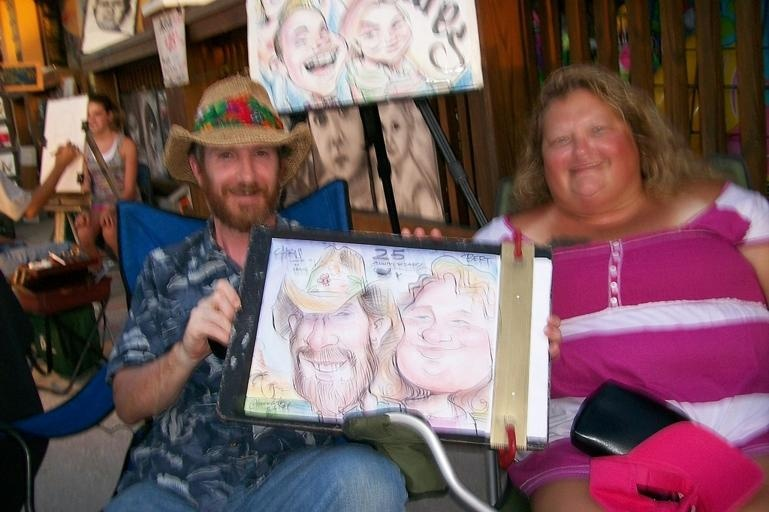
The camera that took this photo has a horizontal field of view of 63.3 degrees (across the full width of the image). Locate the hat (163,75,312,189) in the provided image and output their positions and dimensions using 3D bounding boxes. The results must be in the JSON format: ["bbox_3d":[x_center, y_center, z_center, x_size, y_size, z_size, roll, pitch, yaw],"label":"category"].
[{"bbox_3d":[-0.564,-0.350,2.401,0.414,0.270,0.480,0,-19,-5],"label":"hat"}]
